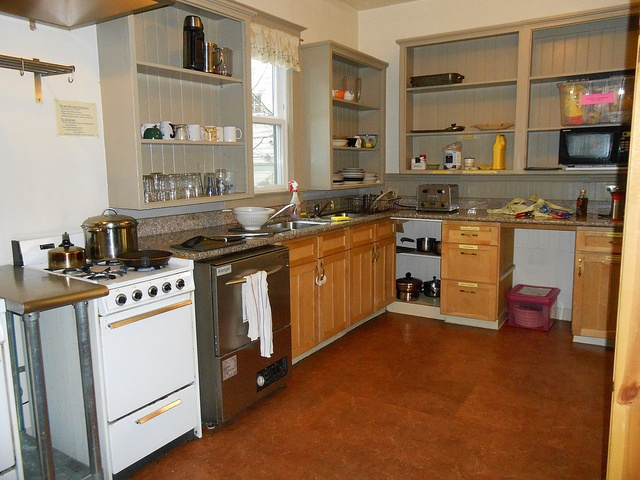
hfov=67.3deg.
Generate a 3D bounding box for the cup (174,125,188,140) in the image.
[{"bbox_3d":[-0.992,-0.771,3.421,0.076,0.104,0.116,-2,14,-4],"label":"cup"}]

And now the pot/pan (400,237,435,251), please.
[{"bbox_3d":[1.065,0.043,5.154,0.288,0.117,0.165,-1,3,9],"label":"pot/pan"}]

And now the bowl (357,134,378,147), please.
[{"bbox_3d":[0.536,-1.078,5.224,0.166,0.111,0.164,0,7,0],"label":"bowl"}]

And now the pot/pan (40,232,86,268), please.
[{"bbox_3d":[-1.524,0.069,2.886,0.195,0.210,0.207,3,7,23],"label":"pot/pan"}]

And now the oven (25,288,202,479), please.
[{"bbox_3d":[-1.131,0.726,3.305,0.905,1.385,0.924,1,7,29],"label":"oven"}]

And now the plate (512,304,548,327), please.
[{"bbox_3d":[2.011,0.749,4.628,0.204,0.148,0.216,2,6,28],"label":"plate"}]

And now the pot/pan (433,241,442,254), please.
[{"bbox_3d":[1.226,0.081,4.968,0.083,0.109,0.107,1,6,1],"label":"pot/pan"}]

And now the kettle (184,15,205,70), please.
[{"bbox_3d":[-0.895,-1.390,3.400,0.156,0.363,0.075,-4,14,-14],"label":"kettle"}]

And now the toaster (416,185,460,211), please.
[{"bbox_3d":[1.213,-0.462,4.915,0.305,0.233,0.308,3,12,22],"label":"toaster"}]

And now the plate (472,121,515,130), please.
[{"bbox_3d":[1.748,-1.145,4.863,0.413,0.073,0.174,3,14,17],"label":"plate"}]

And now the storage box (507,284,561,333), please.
[{"bbox_3d":[2.079,0.615,4.715,0.424,0.324,0.432,3,9,31],"label":"storage box"}]

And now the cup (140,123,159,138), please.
[{"bbox_3d":[-1.170,-0.754,3.309,0.126,0.091,0.094,-8,15,-32],"label":"cup"}]

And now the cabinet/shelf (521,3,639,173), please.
[{"bbox_3d":[2.429,-1.424,4.523,0.878,1.474,0.382,5,15,24],"label":"cabinet/shelf"}]

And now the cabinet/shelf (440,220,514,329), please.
[{"bbox_3d":[1.577,0.310,4.694,0.768,1.024,0.498,-1,13,-1],"label":"cabinet/shelf"}]

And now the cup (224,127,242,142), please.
[{"bbox_3d":[-0.688,-0.825,3.800,0.167,0.125,0.104,0,3,-37],"label":"cup"}]

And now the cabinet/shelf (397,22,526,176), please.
[{"bbox_3d":[1.521,-1.497,5.020,1.561,1.753,0.468,4,12,27],"label":"cabinet/shelf"}]

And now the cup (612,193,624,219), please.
[{"bbox_3d":[2.550,-0.285,4.117,0.091,0.221,0.164,7,15,29],"label":"cup"}]

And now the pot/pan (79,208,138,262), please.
[{"bbox_3d":[-1.283,-0.039,2.989,0.300,0.293,0.304,-1,4,-4],"label":"pot/pan"}]

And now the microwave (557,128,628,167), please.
[{"bbox_3d":[2.562,-0.881,4.413,0.360,0.379,0.576,-25,23,-38],"label":"microwave"}]

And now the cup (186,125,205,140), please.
[{"bbox_3d":[-0.908,-0.783,3.509,0.133,0.102,0.100,-9,20,-28],"label":"cup"}]

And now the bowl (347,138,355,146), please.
[{"bbox_3d":[0.335,-1.035,5.086,0.083,0.063,0.085,0,-1,0],"label":"bowl"}]

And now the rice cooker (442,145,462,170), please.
[{"bbox_3d":[1.426,-0.906,5.162,0.202,0.271,0.287,3,14,14],"label":"rice cooker"}]

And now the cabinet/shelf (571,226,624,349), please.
[{"bbox_3d":[2.370,0.372,4.132,0.338,0.933,0.157,4,14,18],"label":"cabinet/shelf"}]

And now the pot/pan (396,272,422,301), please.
[{"bbox_3d":[0.941,0.505,5.103,0.252,0.254,0.288,0,-1,2],"label":"pot/pan"}]

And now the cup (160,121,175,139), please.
[{"bbox_3d":[-1.056,-0.759,3.330,0.098,0.118,0.114,-5,14,-17],"label":"cup"}]

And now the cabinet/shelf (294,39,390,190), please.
[{"bbox_3d":[0.203,-1.265,4.909,0.470,1.848,1.611,2,8,24],"label":"cabinet/shelf"}]

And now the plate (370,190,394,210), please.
[{"bbox_3d":[0.669,-0.431,5.145,0.122,0.166,0.317,9,17,37],"label":"plate"}]
